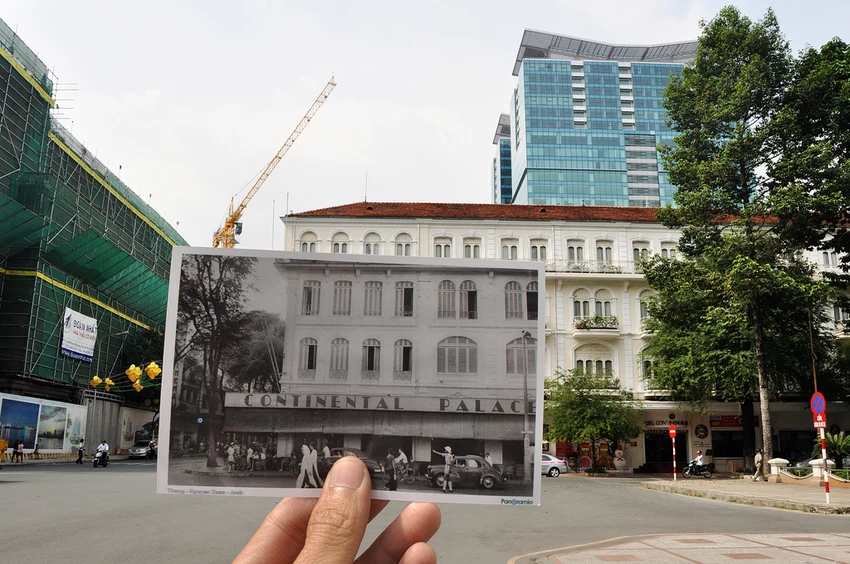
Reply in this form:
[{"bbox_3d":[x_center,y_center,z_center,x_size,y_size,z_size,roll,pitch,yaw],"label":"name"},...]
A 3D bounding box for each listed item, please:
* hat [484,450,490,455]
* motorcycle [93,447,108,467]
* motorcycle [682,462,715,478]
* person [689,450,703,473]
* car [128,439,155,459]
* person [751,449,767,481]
[{"bbox_3d":[1.074,2.952,12.836,0.083,0.077,0.049,1,-31,1],"label":"hat"},{"bbox_3d":[-19.755,10.834,45.352,0.758,0.808,1.310,1,-29,-2],"label":"motorcycle"},{"bbox_3d":[16.227,11.306,44.509,1.731,0.949,0.899,9,-25,2],"label":"motorcycle"},{"bbox_3d":[16.037,10.900,44.418,1.036,1.080,0.907,-4,-18,12],"label":"person"},{"bbox_3d":[-21.939,13.160,58.214,1.674,1.603,2.878,2,-17,-8],"label":"car"},{"bbox_3d":[16.725,9.368,37.609,0.668,1.404,1.369,-8,-19,22],"label":"person"}]
